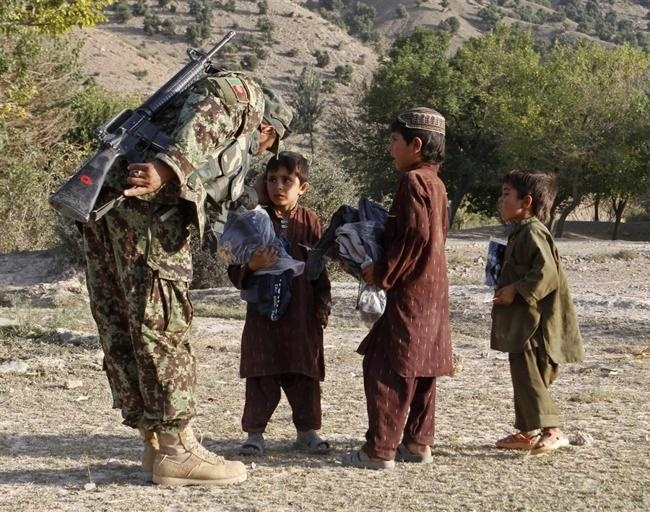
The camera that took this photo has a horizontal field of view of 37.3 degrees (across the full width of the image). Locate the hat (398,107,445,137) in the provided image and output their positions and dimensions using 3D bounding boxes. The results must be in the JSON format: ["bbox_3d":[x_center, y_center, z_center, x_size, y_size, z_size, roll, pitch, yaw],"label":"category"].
[{"bbox_3d":[0.879,-1.208,8.618,0.308,0.182,0.253,6,5,2],"label":"hat"}]

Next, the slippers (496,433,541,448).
[{"bbox_3d":[1.800,1.680,8.889,0.396,0.177,0.158,1,-3,14],"label":"slippers"}]

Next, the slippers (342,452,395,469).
[{"bbox_3d":[0.378,1.809,8.453,0.372,0.165,0.183,5,-2,13],"label":"slippers"}]

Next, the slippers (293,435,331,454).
[{"bbox_3d":[-0.122,1.714,8.822,0.275,0.143,0.149,-2,0,26],"label":"slippers"}]

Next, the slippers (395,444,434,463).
[{"bbox_3d":[0.819,1.781,8.699,0.348,0.143,0.139,5,-4,11],"label":"slippers"}]

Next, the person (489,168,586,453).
[{"bbox_3d":[1.976,0.496,8.961,0.838,2.456,1.020,0,14,-4],"label":"person"}]

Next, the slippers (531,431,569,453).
[{"bbox_3d":[2.062,1.684,8.797,0.366,0.168,0.159,-6,-5,-30],"label":"slippers"}]

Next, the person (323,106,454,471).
[{"bbox_3d":[0.712,0.289,8.499,0.852,3.076,1.131,10,16,31],"label":"person"}]

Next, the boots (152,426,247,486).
[{"bbox_3d":[-1.099,1.713,8.275,0.915,0.636,0.342,0,0,-11],"label":"boots"}]
